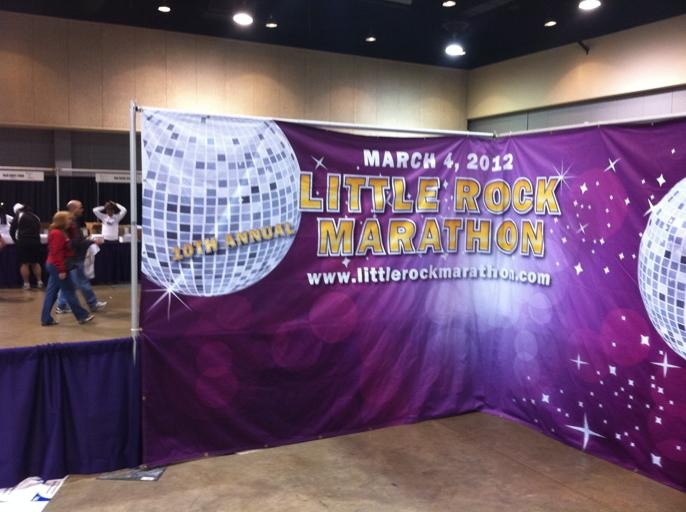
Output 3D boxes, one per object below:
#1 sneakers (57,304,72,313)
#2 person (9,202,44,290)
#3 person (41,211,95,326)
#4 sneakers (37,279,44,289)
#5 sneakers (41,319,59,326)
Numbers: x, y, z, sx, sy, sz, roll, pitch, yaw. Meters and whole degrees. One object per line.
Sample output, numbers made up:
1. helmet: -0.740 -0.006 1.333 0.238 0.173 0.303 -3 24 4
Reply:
1. sneakers: -3.765 0.710 7.582 0.229 0.131 0.087 0 6 -19
2. person: -5.121 -0.144 9.035 0.471 1.369 0.758 0 4 -33
3. person: -3.398 0.160 6.690 0.520 1.409 0.726 1 4 -10
4. sneakers: -4.995 0.452 9.207 0.103 0.141 0.113 -6 -9 34
5. sneakers: -3.583 0.807 6.807 0.048 0.066 0.143 4 6 44
